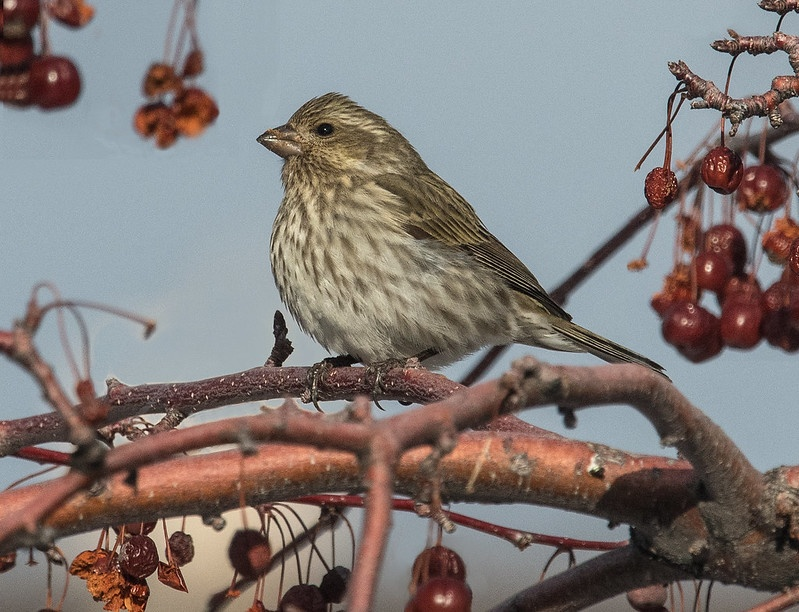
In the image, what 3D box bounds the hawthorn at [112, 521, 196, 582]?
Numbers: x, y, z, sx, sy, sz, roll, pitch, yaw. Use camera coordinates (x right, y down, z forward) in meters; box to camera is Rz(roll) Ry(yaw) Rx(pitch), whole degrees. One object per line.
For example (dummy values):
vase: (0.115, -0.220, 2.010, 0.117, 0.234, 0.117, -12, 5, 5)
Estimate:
hawthorn: (-1.062, 1.073, 5.339, 0.145, 0.255, 0.385, -31, -45, 30)
